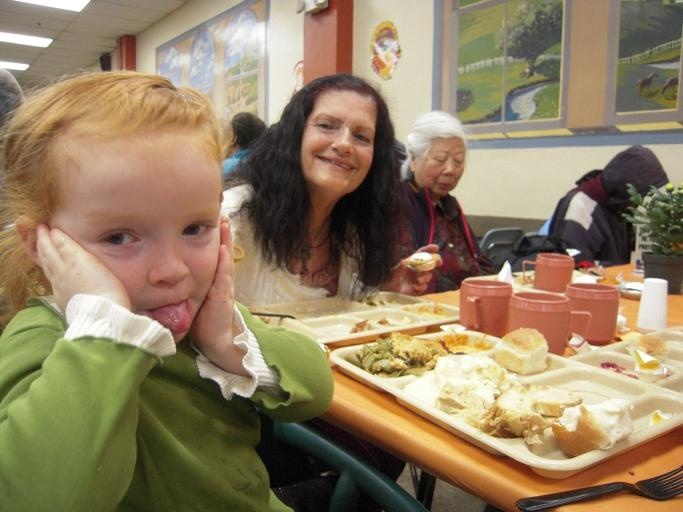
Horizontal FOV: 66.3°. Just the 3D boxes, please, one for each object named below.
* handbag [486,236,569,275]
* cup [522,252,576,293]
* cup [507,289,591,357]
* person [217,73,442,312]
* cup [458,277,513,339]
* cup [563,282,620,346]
[{"bbox_3d":[1.084,-0.025,2.964,0.368,0.150,0.269,0,0,-19],"label":"handbag"},{"bbox_3d":[0.778,0.053,1.983,0.185,0.128,0.144,4,8,29],"label":"cup"},{"bbox_3d":[0.551,0.186,1.346,0.235,0.157,0.161,6,8,35],"label":"cup"},{"bbox_3d":[-0.056,-0.268,2.184,0.934,0.910,0.511,2,6,-14],"label":"person"},{"bbox_3d":[0.393,0.161,1.465,0.124,0.161,0.188,6,13,36],"label":"cup"},{"bbox_3d":[0.659,0.159,1.490,0.171,0.182,0.168,-1,3,0],"label":"cup"}]
